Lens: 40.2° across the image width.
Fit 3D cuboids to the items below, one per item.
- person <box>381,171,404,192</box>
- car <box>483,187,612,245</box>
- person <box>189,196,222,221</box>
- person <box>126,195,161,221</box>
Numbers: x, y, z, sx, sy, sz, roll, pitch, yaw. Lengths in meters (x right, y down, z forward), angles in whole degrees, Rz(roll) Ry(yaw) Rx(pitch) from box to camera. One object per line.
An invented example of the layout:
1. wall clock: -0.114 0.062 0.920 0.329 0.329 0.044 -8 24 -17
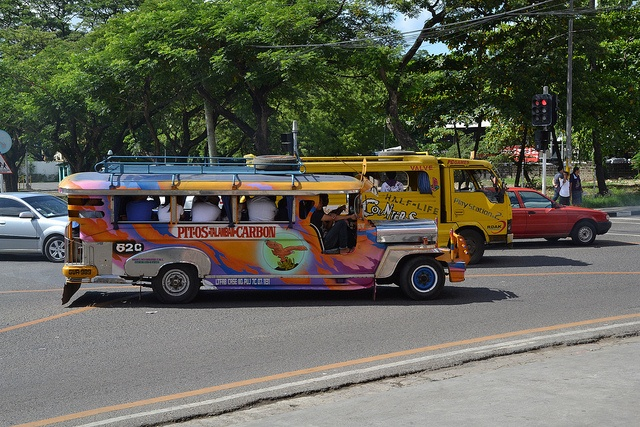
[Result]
1. person: 2.233 -0.959 26.551 0.596 1.148 0.386 1 8 23
2. car: 8.033 0.083 30.397 4.220 1.448 1.816 -2 4 -7
3. person: -3.042 -0.129 23.537 0.772 0.704 0.604 4 -5 -11
4. person: -4.697 -0.139 23.544 0.790 0.810 0.641 3 -10 -2
